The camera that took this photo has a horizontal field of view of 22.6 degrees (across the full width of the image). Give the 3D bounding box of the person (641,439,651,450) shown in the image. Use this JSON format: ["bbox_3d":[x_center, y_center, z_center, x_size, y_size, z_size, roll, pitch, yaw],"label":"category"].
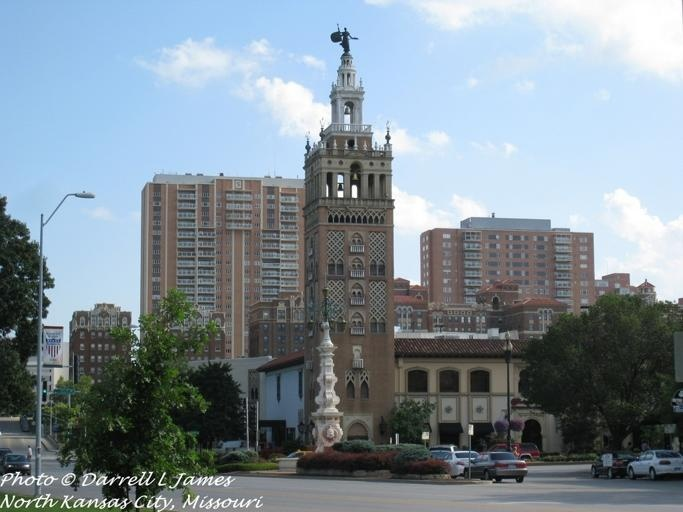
[{"bbox_3d":[27.881,17.185,156.875,0.776,1.187,0.833,-3,4,-38],"label":"person"}]
